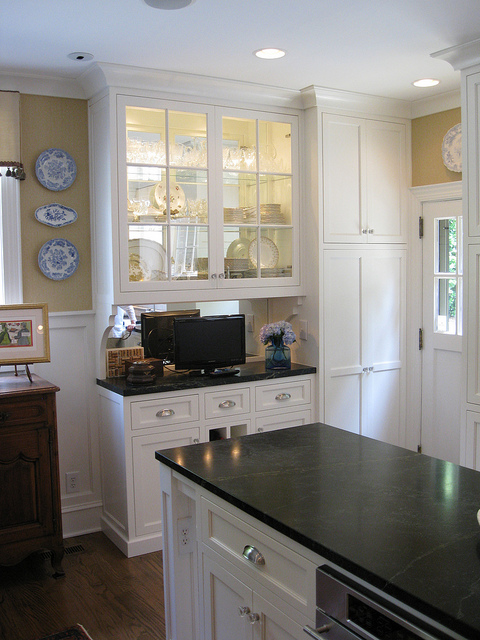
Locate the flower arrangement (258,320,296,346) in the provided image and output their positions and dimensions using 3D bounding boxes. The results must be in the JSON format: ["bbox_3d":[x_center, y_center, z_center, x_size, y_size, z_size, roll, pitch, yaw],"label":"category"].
[{"bbox_3d":[0.244,0.070,3.236,0.153,0.178,0.159,0,1,-12],"label":"flower arrangement"}]

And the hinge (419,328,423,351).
[{"bbox_3d":[1.330,0.143,3.723,0.025,0.147,0.015,-2,0,19],"label":"hinge"}]

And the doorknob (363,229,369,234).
[{"bbox_3d":[0.861,-0.606,3.459,0.024,0.035,0.059,3,7,-42],"label":"doorknob"}]

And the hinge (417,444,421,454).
[{"bbox_3d":[1.330,0.950,3.756,0.019,0.058,0.017,-2,0,22],"label":"hinge"}]

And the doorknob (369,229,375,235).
[{"bbox_3d":[0.908,-0.609,3.483,0.034,0.032,0.032,5,28,-8],"label":"doorknob"}]

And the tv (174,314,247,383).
[{"bbox_3d":[-0.171,0.161,3.076,0.446,0.392,0.196,-2,0,-10],"label":"tv"}]

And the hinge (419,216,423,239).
[{"bbox_3d":[1.308,-0.668,3.663,0.027,0.143,0.011,-2,0,-9],"label":"hinge"}]
